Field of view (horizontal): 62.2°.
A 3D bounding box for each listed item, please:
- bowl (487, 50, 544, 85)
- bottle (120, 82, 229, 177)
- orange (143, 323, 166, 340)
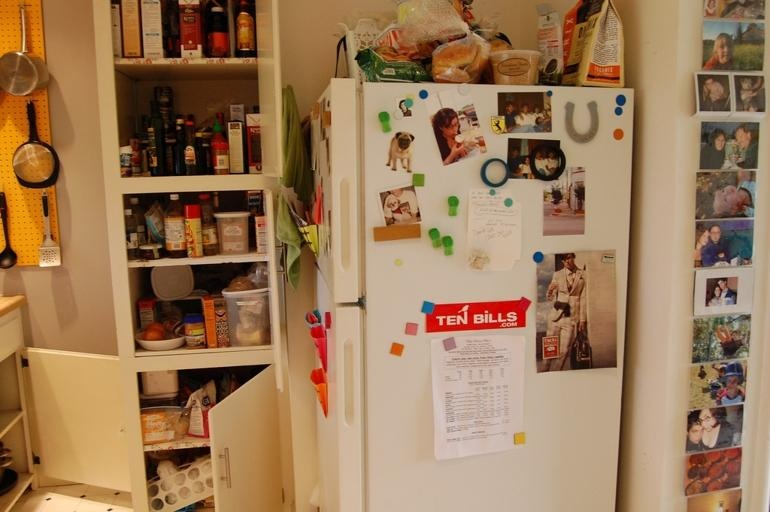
[{"bbox_3d":[0.457,-0.656,2.215,0.138,0.079,0.138,0,5,0],"label":"bowl"},{"bbox_3d":[-0.913,-0.556,2.795,0.439,0.404,0.301,-7,12,-12],"label":"bottle"},{"bbox_3d":[-0.985,0.332,2.754,0.070,0.071,0.075,-2,6,17],"label":"orange"}]
